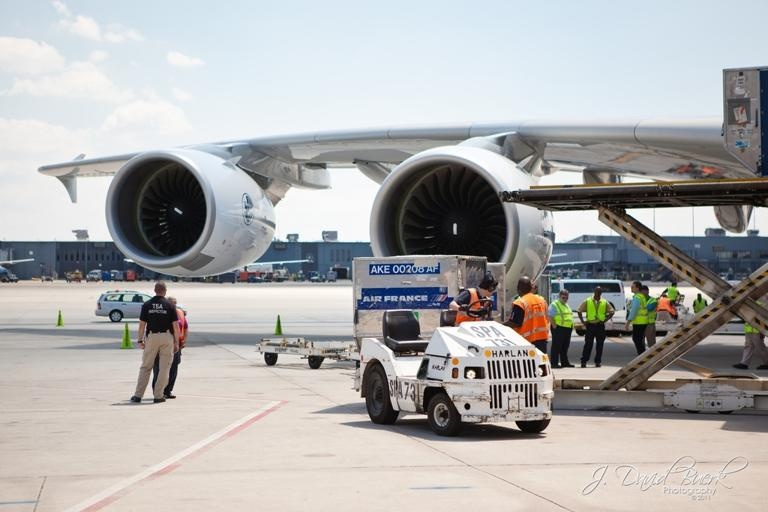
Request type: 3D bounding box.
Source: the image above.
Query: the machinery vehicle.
[{"bbox_3d":[1.103,2.011,18.767,2.131,1.821,3.569,-1,-1,-33],"label":"machinery vehicle"}]

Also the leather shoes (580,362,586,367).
[{"bbox_3d":[4.934,2.632,25.736,0.164,0.144,0.094,-1,-1,14],"label":"leather shoes"}]

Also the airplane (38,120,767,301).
[{"bbox_3d":[1.404,-1.300,28.871,19.617,3.785,13.723,2,2,28],"label":"airplane"}]

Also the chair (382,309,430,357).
[{"bbox_3d":[0.382,1.351,18.932,0.741,0.772,0.847,0,-6,-28],"label":"chair"}]

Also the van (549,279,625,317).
[{"bbox_3d":[7.204,1.394,36.782,3.187,1.372,1.760,0,11,28],"label":"van"}]

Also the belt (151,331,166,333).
[{"bbox_3d":[-4.391,1.448,20.255,0.233,0.031,0.022,-2,-2,-13],"label":"belt"}]

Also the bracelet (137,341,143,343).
[{"bbox_3d":[-4.709,1.652,20.202,0.068,0.040,0.070,-2,5,-22],"label":"bracelet"}]

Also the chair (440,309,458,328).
[{"bbox_3d":[1.187,1.136,19.121,0.281,0.323,0.308,0,-9,3],"label":"chair"}]

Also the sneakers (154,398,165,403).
[{"bbox_3d":[-4.349,2.767,20.210,0.227,0.076,0.070,0,0,-5],"label":"sneakers"}]

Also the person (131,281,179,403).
[{"bbox_3d":[-4.448,1.653,20.407,0.787,2.282,0.859,2,1,16],"label":"person"}]
